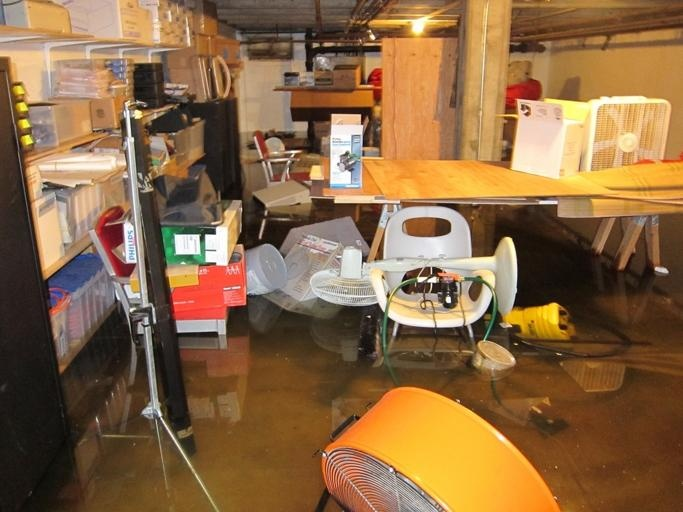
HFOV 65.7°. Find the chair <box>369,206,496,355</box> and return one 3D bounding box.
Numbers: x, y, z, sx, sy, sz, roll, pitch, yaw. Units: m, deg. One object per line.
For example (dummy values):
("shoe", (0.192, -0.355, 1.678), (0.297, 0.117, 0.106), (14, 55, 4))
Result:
("chair", (0.560, 0.177, 3.697), (0.929, 0.807, 0.962), (-1, 29, 2))

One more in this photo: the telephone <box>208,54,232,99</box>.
("telephone", (-1.721, -2.544, 7.567), (0.240, 0.493, 0.612), (-6, 64, 9))

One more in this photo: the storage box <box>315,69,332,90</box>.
("storage box", (-0.347, -3.420, 10.316), (0.387, 0.350, 0.233), (-1, 7, 12))

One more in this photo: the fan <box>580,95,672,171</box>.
("fan", (2.061, -0.878, 3.873), (0.594, 0.525, 0.212), (-6, 22, -16))

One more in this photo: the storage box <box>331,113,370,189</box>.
("storage box", (0.029, -0.721, 3.678), (0.232, 0.482, 0.313), (-1, 22, 0))

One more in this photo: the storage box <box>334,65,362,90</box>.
("storage box", (0.094, -3.475, 10.395), (0.500, 0.472, 0.535), (0, 21, 0))
